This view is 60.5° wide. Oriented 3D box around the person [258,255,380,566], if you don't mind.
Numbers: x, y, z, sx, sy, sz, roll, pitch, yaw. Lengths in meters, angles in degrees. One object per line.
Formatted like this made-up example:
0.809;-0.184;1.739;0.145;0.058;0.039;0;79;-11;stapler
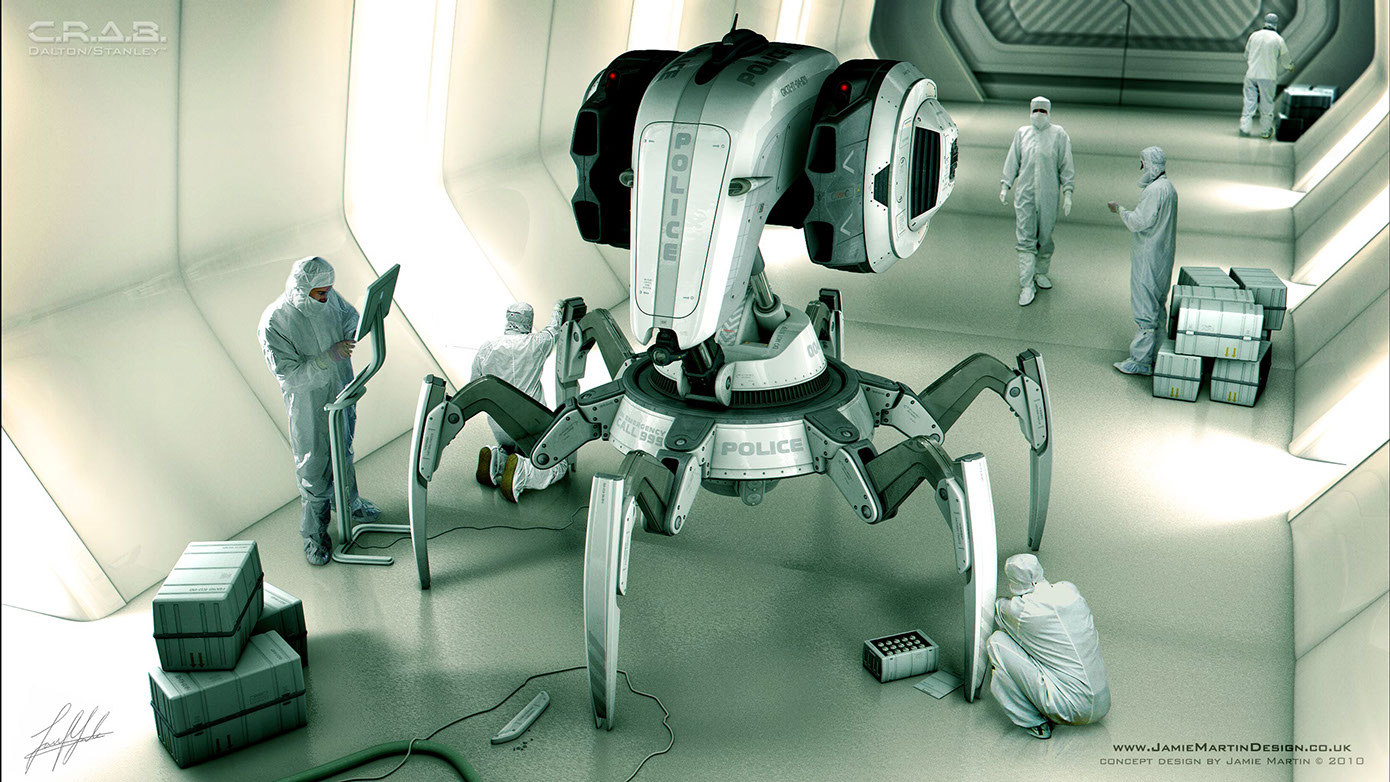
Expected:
-3.370;0.184;10.863;0.817;2.749;0.700;-10;23;-18;person

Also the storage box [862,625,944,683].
1.761;2.242;10.115;0.674;0.278;0.327;-6;22;-11;storage box

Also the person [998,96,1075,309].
4.400;-2.455;15.453;0.831;2.586;0.777;3;23;14;person

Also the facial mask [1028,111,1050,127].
4.385;-3.429;15.154;0.223;0.188;0.221;2;16;12;facial mask

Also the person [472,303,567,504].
-1.779;0.076;11.921;0.959;1.785;1.051;-5;22;-6;person

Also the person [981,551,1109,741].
2.855;2.049;9.694;0.906;1.345;0.656;-7;22;-11;person

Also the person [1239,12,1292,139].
9.399;-5.173;19.740;0.656;1.930;1.020;7;24;22;person

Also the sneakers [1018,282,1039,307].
4.351;-1.282;15.697;0.164;0.190;0.492;7;34;30;sneakers

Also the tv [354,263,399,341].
-3.121;-0.849;11.700;0.096;0.710;0.736;23;33;-1;tv

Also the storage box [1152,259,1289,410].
5.955;-0.694;13.581;1.103;0.941;1.882;9;42;21;storage box

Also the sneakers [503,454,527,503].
-1.796;0.866;11.798;0.180;0.479;0.209;1;-12;20;sneakers

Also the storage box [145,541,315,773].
-3.840;2.108;9.760;1.248;1.464;0.964;-10;23;-19;storage box
